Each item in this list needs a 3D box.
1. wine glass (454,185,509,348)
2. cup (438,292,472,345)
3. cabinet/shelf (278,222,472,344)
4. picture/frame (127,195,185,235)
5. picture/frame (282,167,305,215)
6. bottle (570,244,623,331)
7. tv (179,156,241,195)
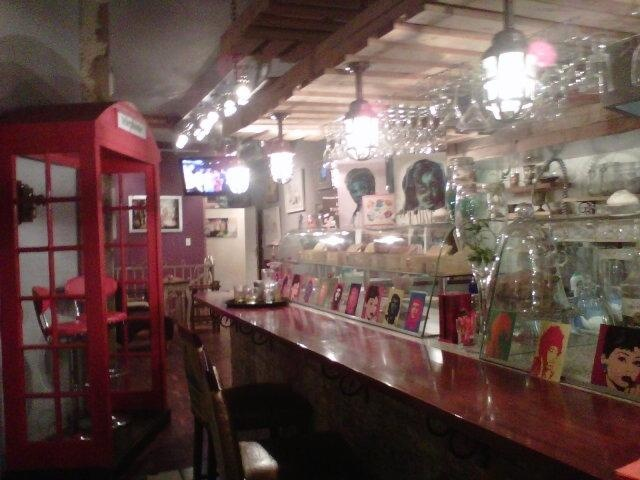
[{"bbox_3d":[0.771,0.127,2.378,0.285,0.861,0.285,-5,-10,25],"label":"wine glass"},{"bbox_3d":[0.649,0.372,2.442,0.158,0.217,0.169,-2,-3,0],"label":"cup"},{"bbox_3d":[0.187,0.225,3.324,1.466,0.445,0.284,11,-2,-40],"label":"cabinet/shelf"},{"bbox_3d":[-2.719,-0.401,8.331,0.851,0.699,0.079,2,-10,-17],"label":"picture/frame"},{"bbox_3d":[-0.387,-0.804,8.433,0.092,0.699,0.747,4,2,-24],"label":"picture/frame"},{"bbox_3d":[0.986,0.168,1.849,0.137,0.266,0.217,-7,12,12],"label":"bottle"},{"bbox_3d":[-1.877,-1.111,8.715,0.791,0.571,0.110,0,4,1],"label":"tv"}]
